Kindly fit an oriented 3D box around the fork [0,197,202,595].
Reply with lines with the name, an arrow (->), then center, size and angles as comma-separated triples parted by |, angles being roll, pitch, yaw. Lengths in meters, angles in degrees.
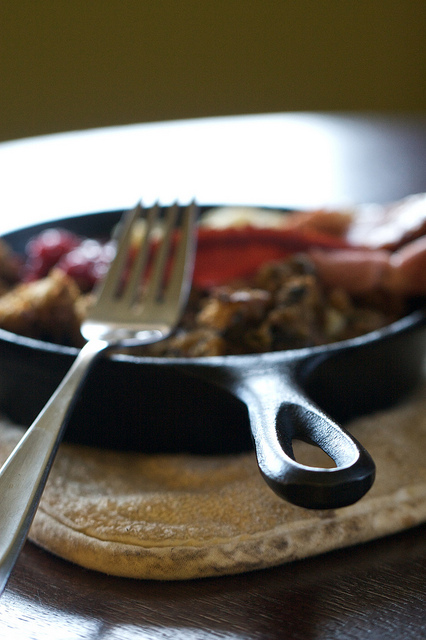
fork -> -0.049, 0.012, 0.301 | 0.036, 0.025, 0.227 | 8, 43, 22
